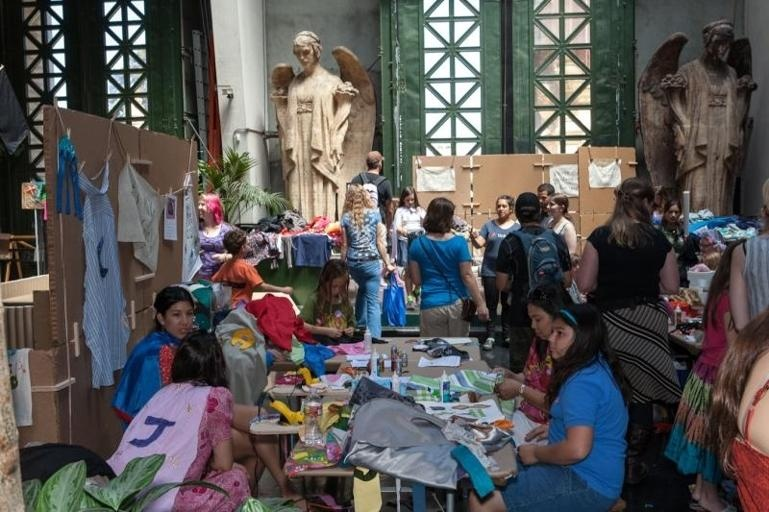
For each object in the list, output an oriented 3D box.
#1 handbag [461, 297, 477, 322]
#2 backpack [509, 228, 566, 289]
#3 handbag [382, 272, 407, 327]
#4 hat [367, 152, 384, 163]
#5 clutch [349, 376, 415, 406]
[{"bbox_3d":[0.848,0.537,9.400,0.116,0.312,0.221,4,3,42],"label":"handbag"},{"bbox_3d":[1.544,0.027,9.159,0.426,0.727,0.655,-13,7,-1],"label":"backpack"},{"bbox_3d":[0.094,0.579,11.458,0.296,0.750,0.318,9,-21,-34],"label":"handbag"},{"bbox_3d":[-0.143,-1.290,12.002,0.191,0.140,0.398,-4,3,-1],"label":"hat"},{"bbox_3d":[-0.067,1.170,7.724,0.355,0.138,0.286,18,2,2],"label":"clutch"}]
